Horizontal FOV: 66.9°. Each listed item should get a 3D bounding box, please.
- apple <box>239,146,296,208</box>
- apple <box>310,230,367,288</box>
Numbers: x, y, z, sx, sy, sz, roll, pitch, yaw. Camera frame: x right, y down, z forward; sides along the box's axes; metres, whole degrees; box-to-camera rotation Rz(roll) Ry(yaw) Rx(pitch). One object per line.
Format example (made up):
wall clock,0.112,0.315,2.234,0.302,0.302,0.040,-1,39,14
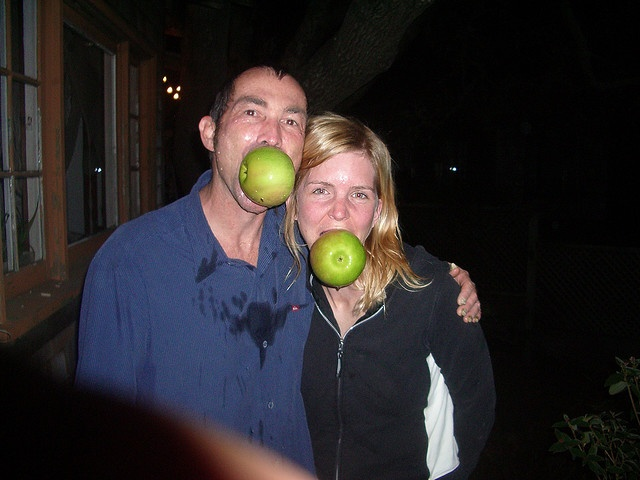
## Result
apple,-0.343,-0.407,3.064,0.331,0.363,0.217,3,0,30
apple,0.116,0.120,3.290,0.364,0.414,0.392,6,21,30
